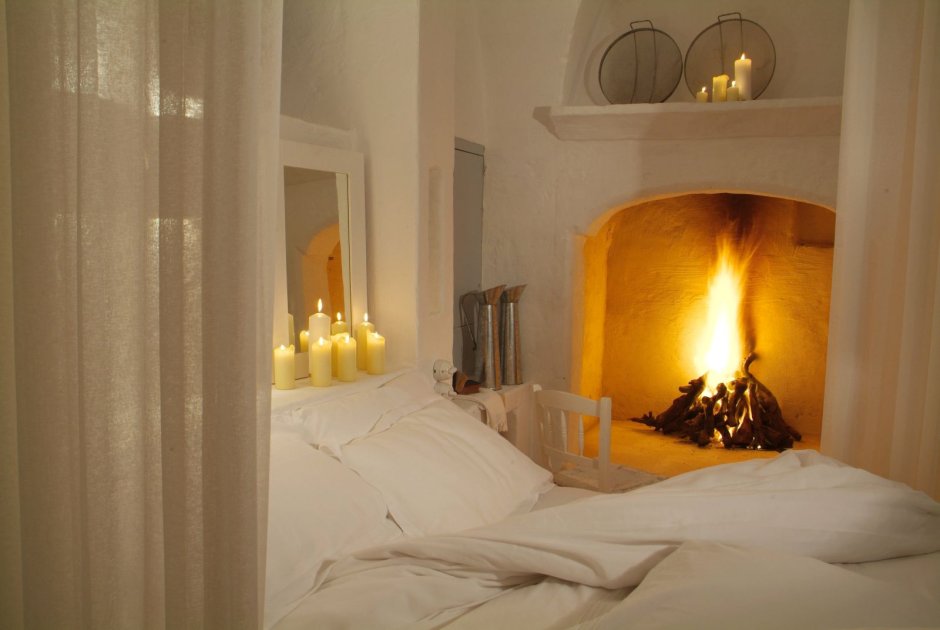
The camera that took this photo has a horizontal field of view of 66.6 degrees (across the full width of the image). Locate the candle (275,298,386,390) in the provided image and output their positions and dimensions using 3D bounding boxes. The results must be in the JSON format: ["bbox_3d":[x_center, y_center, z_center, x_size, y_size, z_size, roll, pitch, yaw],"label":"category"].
[{"bbox_3d":[-0.518,0.105,2.692,0.336,0.228,0.324,2,8,14],"label":"candle"}]
